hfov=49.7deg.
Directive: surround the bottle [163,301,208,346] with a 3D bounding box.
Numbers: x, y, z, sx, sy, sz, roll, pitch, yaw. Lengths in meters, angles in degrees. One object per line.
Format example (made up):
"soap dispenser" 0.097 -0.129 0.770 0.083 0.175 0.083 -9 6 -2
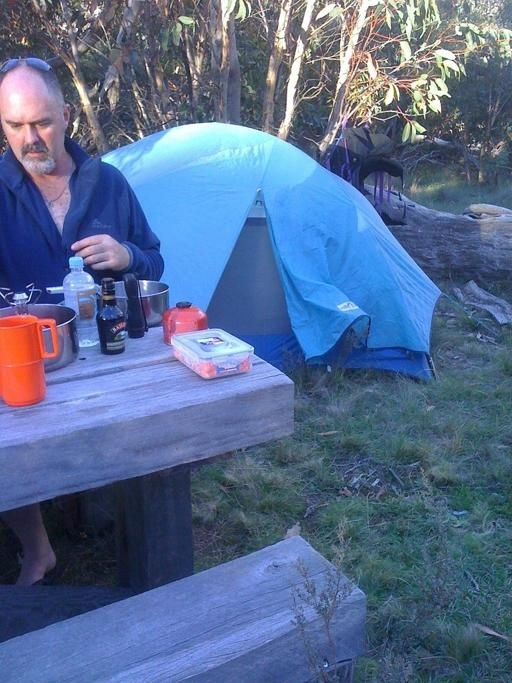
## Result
"bottle" -0.178 -0.048 1.393 0.108 0.084 0.103 -1 19 0
